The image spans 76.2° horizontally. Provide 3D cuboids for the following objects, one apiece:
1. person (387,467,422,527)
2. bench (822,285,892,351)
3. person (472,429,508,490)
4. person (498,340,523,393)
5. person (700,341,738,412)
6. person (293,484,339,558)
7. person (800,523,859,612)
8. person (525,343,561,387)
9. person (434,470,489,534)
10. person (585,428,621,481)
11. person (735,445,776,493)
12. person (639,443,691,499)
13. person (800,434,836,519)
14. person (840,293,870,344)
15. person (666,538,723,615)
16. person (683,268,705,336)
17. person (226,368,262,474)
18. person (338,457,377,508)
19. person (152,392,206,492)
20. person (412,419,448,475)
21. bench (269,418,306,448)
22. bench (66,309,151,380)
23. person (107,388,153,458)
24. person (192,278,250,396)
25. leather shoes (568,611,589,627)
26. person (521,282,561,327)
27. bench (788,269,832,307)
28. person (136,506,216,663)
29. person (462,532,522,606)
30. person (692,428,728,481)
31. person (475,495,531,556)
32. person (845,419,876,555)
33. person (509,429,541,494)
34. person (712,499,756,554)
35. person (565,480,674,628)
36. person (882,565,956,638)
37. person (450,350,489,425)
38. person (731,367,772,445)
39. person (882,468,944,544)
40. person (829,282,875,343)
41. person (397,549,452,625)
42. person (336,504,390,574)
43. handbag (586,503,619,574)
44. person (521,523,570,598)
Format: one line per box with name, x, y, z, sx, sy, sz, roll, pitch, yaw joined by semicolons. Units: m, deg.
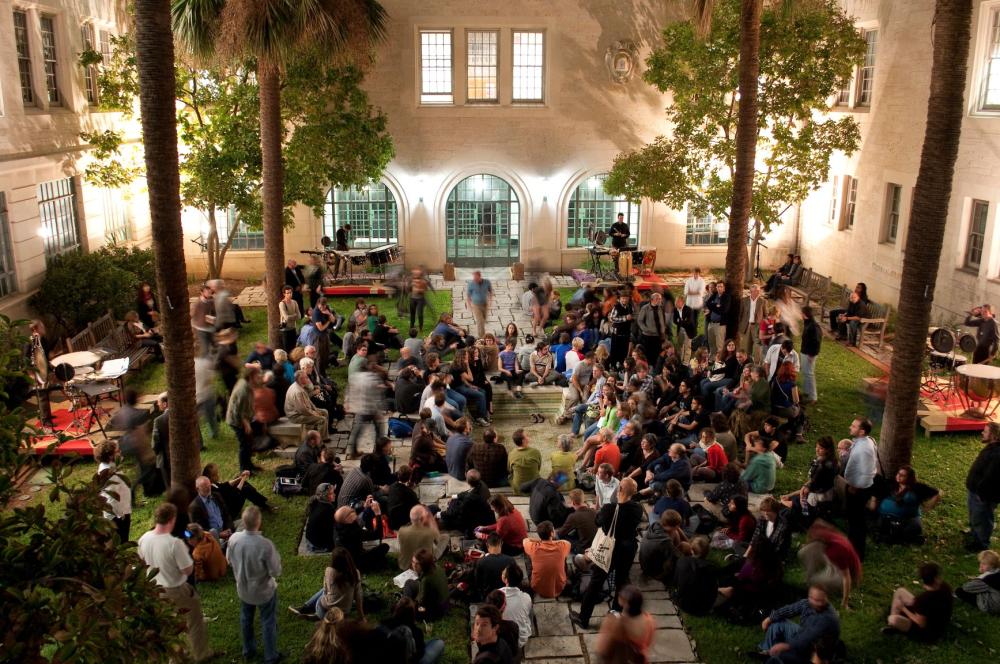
person;-1.639;2.824;10.831;0.529;1.228;0.769;12;36;4
bench;11.204;-0.402;19.948;0.844;1.440;1.916;4;11;5
person;-0.188;2.460;12.119;0.947;1.144;0.618;2;21;2
person;0.293;0.807;16.217;0.608;1.149;1.030;-2;10;-6
person;5.051;0.998;14.677;0.886;1.741;0.569;1;9;-5
person;-2.959;2.991;10.439;0.902;0.583;1.264;2;20;1
person;5.065;3.554;9.669;0.893;0.805;1.600;24;6;24
person;1.093;0.762;16.392;0.825;1.105;0.773;-1;14;5
person;-0.651;3.026;11.195;0.783;1.195;0.550;21;31;19
person;1.981;2.333;12.071;0.551;1.011;0.602;-15;41;-20
person;5.075;2.682;12.342;0.647;0.758;0.576;-7;12;-41
person;3.124;2.652;11.855;0.894;1.292;0.570;2;23;2
person;5.506;2.497;10.918;0.555;1.454;0.453;3;10;20
person;10.788;-0.420;19.399;0.703;1.578;0.530;5;11;31
person;3.040;3.666;9.777;0.671;1.160;0.837;12;23;30
person;5.496;-0.842;17.902;0.619;1.926;0.972;2;10;19
person;-5.175;1.726;12.934;0.549;2.169;0.649;3;10;22
person;-2.427;2.546;10.868;0.516;0.695;0.909;1;10;13
person;-5.982;2.232;11.840;0.738;2.238;0.601;-10;12;-31
person;-1.353;2.276;12.863;0.891;1.121;0.758;-5;18;-22
bench;-4.467;2.136;13.486;0.738;0.491;0.477;2;6;2
bench;-10.046;0.506;16.515;0.764;1.239;2.136;0;14;15
person;-6.713;1.676;11.604;0.631;1.418;0.542;7;12;39
person;-7.995;0.153;17.392;0.947;3.235;1.068;4;6;-21
leather shoes;1.144;4.239;9.366;0.254;0.255;0.126;15;14;38
person;1.294;-1.022;20.916;0.834;1.069;1.729;2;23;6
bench;10.792;-1.541;22.259;0.498;0.933;1.513;-2;17;-5
person;-4.212;3.396;8.257;0.667;2.415;0.761;-6;11;-29
person;-0.166;3.541;9.411;0.395;1.275;0.993;-8;12;-37
person;4.105;2.369;12.422;0.634;1.107;0.449;1;10;11
person;0.036;3.333;10.457;0.865;1.352;0.555;0;11;9
person;6.132;2.651;10.869;0.515;2.092;1.517;5;11;32
person;0.466;2.451;12.010;0.607;1.235;0.612;-1;10;-1
person;3.926;3.182;10.719;0.718;0.905;0.718;7;11;42
person;1.657;3.244;9.671;0.854;2.473;0.620;0;20;-21
person;6.059;3.949;9.293;0.873;1.225;0.696;3;15;35
person;-0.695;1.285;15.123;0.887;1.683;0.454;-2;10;-6
person;5.362;1.519;13.716;0.788;1.659;0.789;-4;8;4
person;7.017;2.943;10.991;0.845;1.391;0.479;0;10;4
person;10.700;-0.578;19.649;0.961;1.460;1.031;10;25;41
person;-1.127;3.763;9.517;0.791;1.228;0.630;15;28;28
person;-2.127;3.358;10.359;0.671;1.170;0.593;-19;6;-1
handbag;1.522;3.002;9.322;0.382;0.940;0.428;4;11;26
person;0.716;3.433;9.802;0.660;1.368;0.769;0;10;3
